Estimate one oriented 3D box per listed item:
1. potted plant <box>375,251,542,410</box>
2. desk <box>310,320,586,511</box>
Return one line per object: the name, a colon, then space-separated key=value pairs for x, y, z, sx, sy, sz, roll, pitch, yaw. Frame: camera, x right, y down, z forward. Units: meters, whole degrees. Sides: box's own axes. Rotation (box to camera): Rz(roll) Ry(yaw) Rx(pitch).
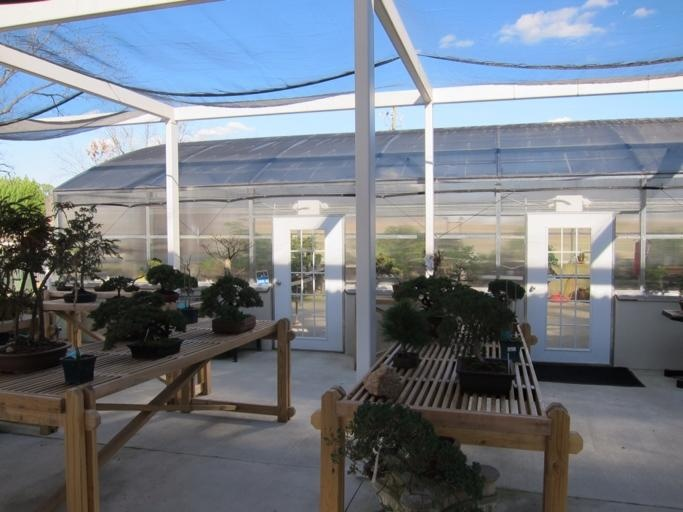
potted plant: x=0.942 y=0.625 z=4.420 sx=0.952 sy=0.503 sz=1.114 roll=1 pitch=5 yaw=14
desk: x=0.704 y=0.507 z=3.746 sx=1.407 sy=0.687 sz=2.678 roll=0 pitch=5 yaw=8
